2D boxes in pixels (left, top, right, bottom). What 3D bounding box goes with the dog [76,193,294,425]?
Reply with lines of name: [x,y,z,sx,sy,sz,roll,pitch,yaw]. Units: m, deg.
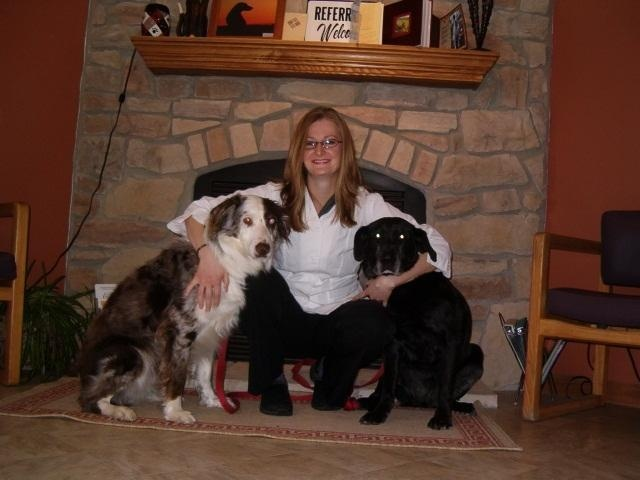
dog: [-0.748,0.374,3.162,1.173,1.108,0.635,0,0,10]

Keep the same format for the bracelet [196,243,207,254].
bracelet: [-0.620,0.041,3.002,0.011,0.048,0.049,45,-48,0]
